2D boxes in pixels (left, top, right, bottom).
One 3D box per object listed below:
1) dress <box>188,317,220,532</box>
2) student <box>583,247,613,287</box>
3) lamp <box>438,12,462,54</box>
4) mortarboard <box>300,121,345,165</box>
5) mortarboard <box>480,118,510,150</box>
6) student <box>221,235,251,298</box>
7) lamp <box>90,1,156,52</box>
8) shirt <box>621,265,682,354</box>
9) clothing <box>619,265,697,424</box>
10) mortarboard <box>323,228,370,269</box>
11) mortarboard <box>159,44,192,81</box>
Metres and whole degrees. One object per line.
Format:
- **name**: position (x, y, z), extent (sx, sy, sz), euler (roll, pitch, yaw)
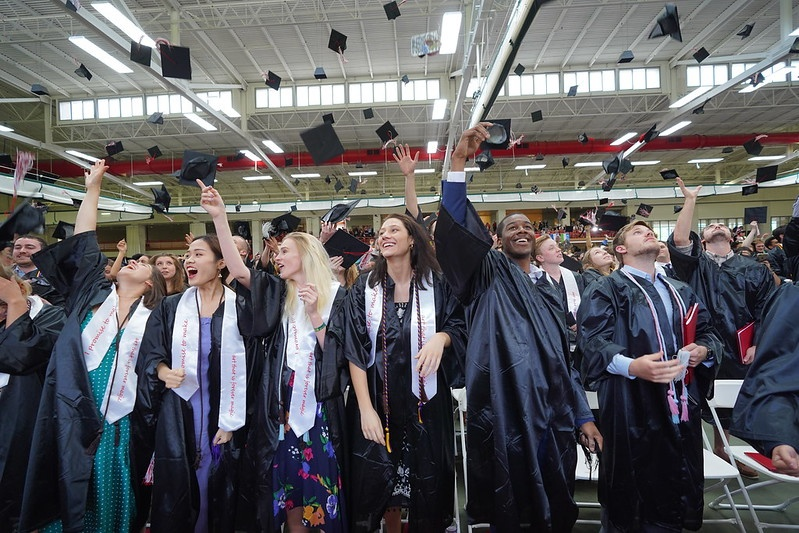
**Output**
- **dress**: position (-1.894, 1.513, 5.608), extent (0.298, 1.701, 0.133), euler (-2, -5, -6)
- **student**: position (2.509, 0.001, 7.447), extent (0.492, 0.332, 0.239), euler (3, -22, -19)
- **lamp**: position (0.902, -4.254, 10.550), extent (0.384, 0.498, 1.246), euler (-1, -7, 3)
- **mortarboard**: position (-0.861, -1.327, 6.583), extent (0.498, 0.490, 0.221), euler (-27, 17, -9)
- **mortarboard**: position (0.895, -1.175, 5.352), extent (0.194, 0.271, 0.389), euler (-5, -8, 33)
- **student**: position (-1.649, 0.013, 5.886), extent (0.263, 0.386, 0.563), euler (19, -28, -41)
- **lamp**: position (-4.586, -4.010, 9.976), extent (0.705, 0.792, 0.915), euler (-5, -8, 32)
- **shirt**: position (2.548, 0.401, 5.748), extent (0.470, 0.787, 0.201), euler (-9, -19, -40)
- **clothing**: position (2.561, 0.707, 5.669), extent (0.850, 1.285, 0.352), euler (0, -4, -25)
- **mortarboard**: position (-0.620, -0.220, 6.770), extent (0.462, 0.143, 0.474), euler (-38, -66, 24)
- **mortarboard**: position (-3.454, -3.203, 9.059), extent (0.457, 0.658, 0.674), euler (1, -7, -21)
